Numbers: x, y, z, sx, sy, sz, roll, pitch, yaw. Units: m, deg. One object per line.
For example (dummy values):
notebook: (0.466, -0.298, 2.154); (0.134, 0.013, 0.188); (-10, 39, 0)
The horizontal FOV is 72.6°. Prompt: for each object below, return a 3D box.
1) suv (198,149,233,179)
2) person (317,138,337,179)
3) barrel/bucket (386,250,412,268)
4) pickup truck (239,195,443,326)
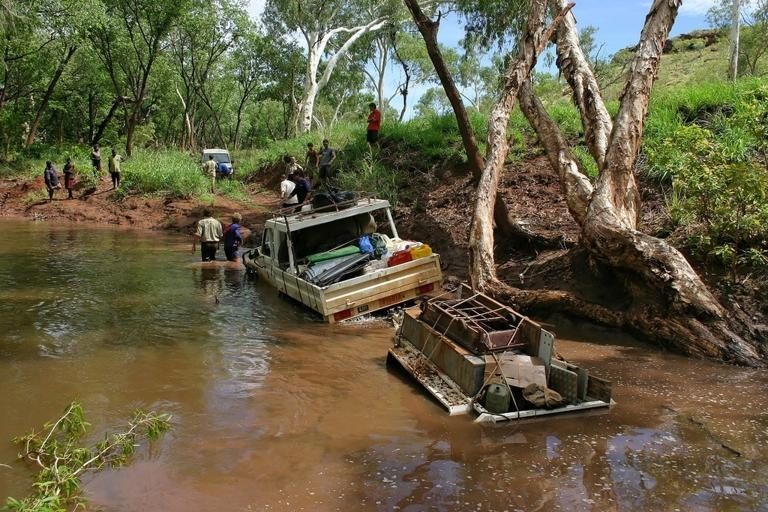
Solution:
suv: (-10.635, -6.060, 33.421); (1.593, 1.535, 2.730); (-4, 7, -25)
person: (-2.565, -4.310, 23.260); (0.680, 1.772, 1.203); (-4, 15, -6)
barrel/bucket: (0.381, 0.060, 12.835); (0.569, 0.347, 0.318); (-11, 3, -14)
pickup truck: (-1.423, -0.163, 13.950); (2.760, 2.166, 4.531); (-13, 26, -31)
